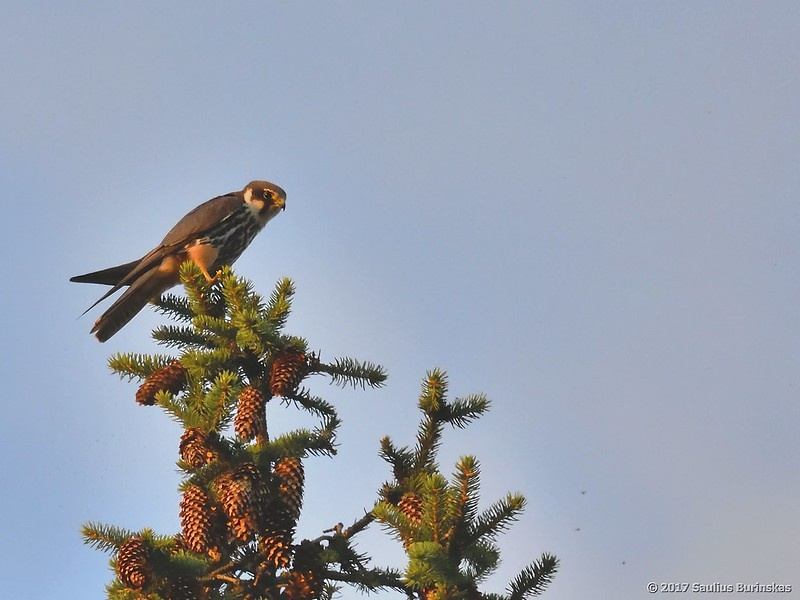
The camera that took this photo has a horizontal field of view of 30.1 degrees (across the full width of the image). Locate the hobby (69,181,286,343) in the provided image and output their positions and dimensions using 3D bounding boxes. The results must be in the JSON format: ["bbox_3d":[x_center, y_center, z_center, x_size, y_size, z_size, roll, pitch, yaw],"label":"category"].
[{"bbox_3d":[-1.654,-0.148,11.680,1.722,1.071,0.542,-13,-36,-15],"label":"hobby"}]
